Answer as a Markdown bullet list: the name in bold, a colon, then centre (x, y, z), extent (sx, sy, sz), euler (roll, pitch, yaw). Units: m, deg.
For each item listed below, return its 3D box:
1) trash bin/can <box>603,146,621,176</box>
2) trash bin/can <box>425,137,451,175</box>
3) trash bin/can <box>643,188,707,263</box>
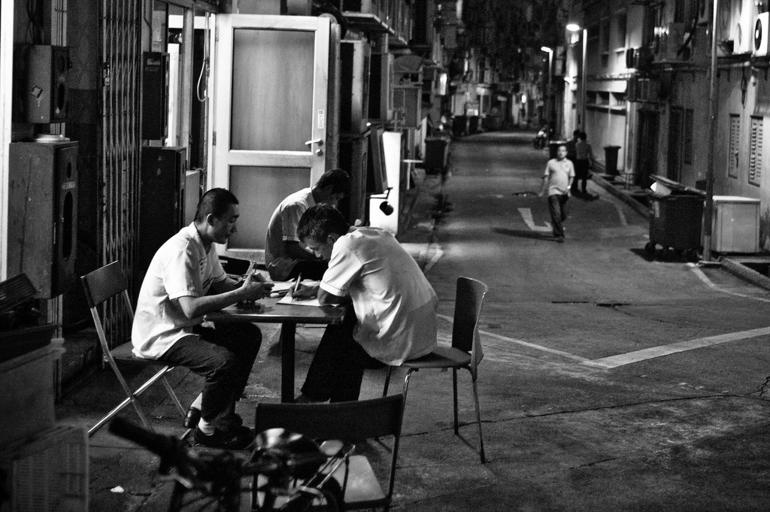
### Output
- **trash bin/can**: centre (10.026, -4.247, 32.506), extent (0.631, 1.295, 1.574), euler (4, 10, 18)
- **trash bin/can**: centre (2.233, -4.460, 32.780), extent (1.006, 1.583, 0.559), euler (7, 10, 32)
- **trash bin/can**: centre (6.474, -0.738, 16.599), extent (1.409, 1.973, 1.200), euler (2, 1, 4)
